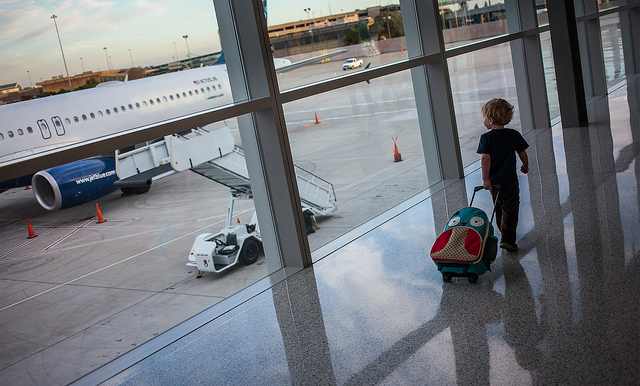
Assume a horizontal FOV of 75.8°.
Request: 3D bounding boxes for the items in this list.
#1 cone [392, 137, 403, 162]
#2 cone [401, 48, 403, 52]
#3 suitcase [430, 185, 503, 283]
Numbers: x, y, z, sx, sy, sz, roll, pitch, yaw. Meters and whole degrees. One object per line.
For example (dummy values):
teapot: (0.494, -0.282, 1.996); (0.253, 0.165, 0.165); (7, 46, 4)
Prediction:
cone: (1.995, -1.147, 10.670); (0.204, 0.578, 0.440); (-9, 22, 10)
cone: (1.623, -2.802, 8.135); (0.029, 0.058, 0.093); (-7, 21, 14)
suitcase: (1.885, 0.555, 5.341); (0.712, 0.863, 1.070); (2, 19, 36)
